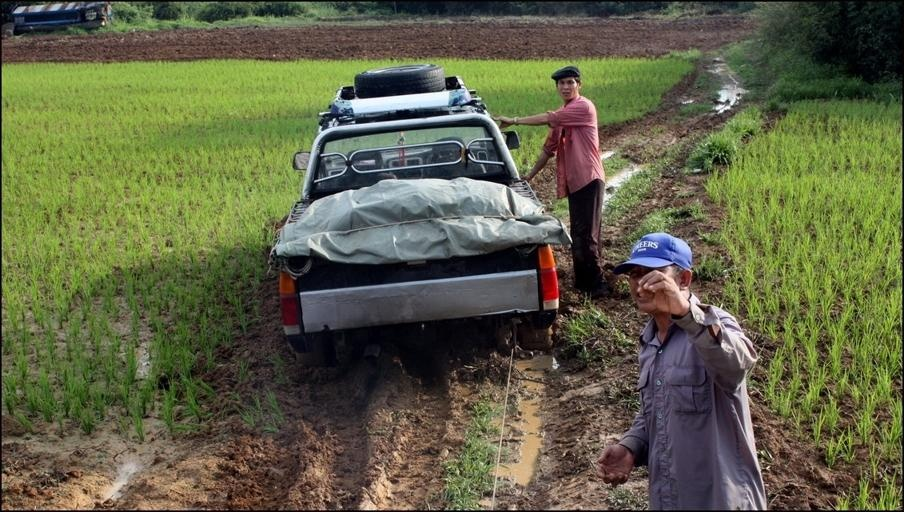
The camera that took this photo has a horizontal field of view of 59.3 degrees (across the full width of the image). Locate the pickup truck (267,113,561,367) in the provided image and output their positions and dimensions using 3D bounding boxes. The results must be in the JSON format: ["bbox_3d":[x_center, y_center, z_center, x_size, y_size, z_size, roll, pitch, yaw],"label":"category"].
[{"bbox_3d":[-0.623,-0.510,14.888,5.029,4.077,3.664,-5,20,-3],"label":"pickup truck"}]
